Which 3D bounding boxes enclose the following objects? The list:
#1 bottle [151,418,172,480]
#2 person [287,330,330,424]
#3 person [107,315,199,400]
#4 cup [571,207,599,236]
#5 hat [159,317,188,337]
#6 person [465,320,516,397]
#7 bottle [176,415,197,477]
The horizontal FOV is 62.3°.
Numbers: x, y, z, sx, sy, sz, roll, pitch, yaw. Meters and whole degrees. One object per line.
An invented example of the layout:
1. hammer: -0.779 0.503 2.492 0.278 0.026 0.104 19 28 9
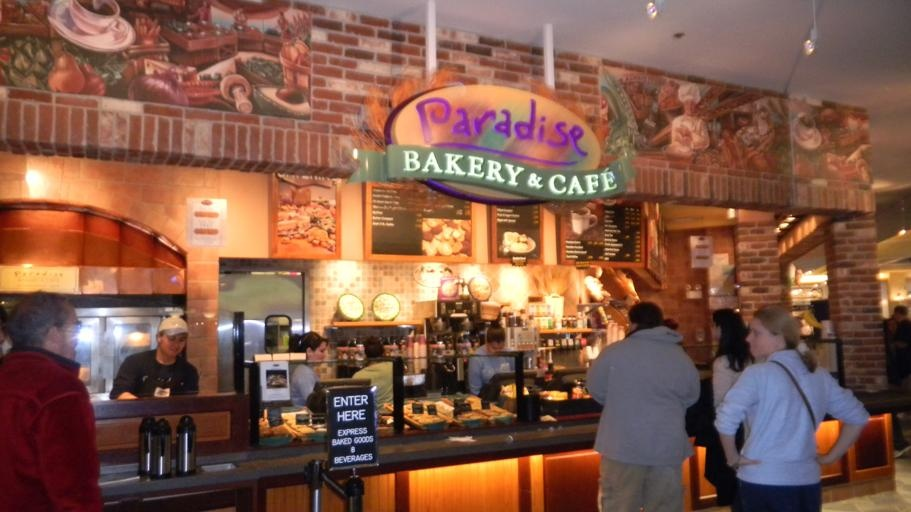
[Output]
1. bottle: -2.463 1.602 6.295 0.161 0.486 0.121 -1 -8 -19
2. person: -1.482 1.192 7.391 0.604 0.877 0.606 -1 2 -16
3. person: -3.052 1.005 7.655 0.809 0.757 0.372 -2 -8 -15
4. cup: 1.800 -0.490 10.671 0.542 0.337 0.309 2 -5 -35
5. hat: -2.865 0.708 7.642 0.261 0.192 0.169 -1 -7 -16
6. person: 0.366 1.097 8.008 0.583 0.801 0.510 3 -6 -35
7. bottle: -2.295 1.599 6.416 0.171 0.488 0.223 -1 -8 -20
